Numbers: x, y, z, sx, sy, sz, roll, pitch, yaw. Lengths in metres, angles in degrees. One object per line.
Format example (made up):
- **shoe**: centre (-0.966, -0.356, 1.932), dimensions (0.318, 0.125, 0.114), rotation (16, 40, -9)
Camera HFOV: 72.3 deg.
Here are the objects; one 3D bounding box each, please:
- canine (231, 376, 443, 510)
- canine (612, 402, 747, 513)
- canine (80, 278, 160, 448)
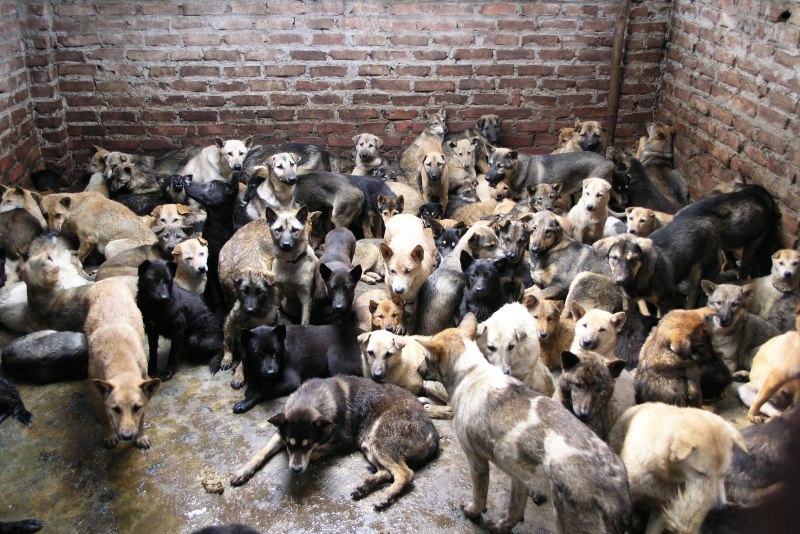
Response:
- **canine**: centre (-0.264, 1.218, 4.166), dimensions (0.868, 0.436, 1.146), rotation (27, 31, 36)
- **canine**: centre (1.639, 1.114, 3.428), dimensions (0.457, 0.518, 0.817), rotation (-16, 19, -4)
- **canine**: centre (-2.314, 0.807, 4.492), dimensions (0.326, 0.654, 1.314), rotation (-5, 64, -30)
